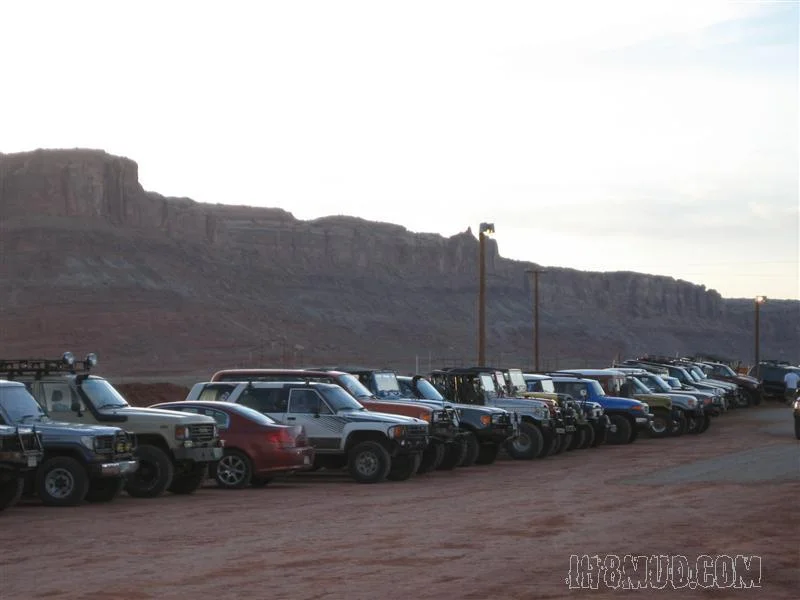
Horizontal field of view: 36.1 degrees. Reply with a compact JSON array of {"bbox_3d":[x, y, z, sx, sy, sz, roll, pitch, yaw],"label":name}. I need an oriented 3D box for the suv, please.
[{"bbox_3d":[-3.071,2.291,23.488,7.544,2.643,2.840,1,-5,-34],"label":"suv"}]
